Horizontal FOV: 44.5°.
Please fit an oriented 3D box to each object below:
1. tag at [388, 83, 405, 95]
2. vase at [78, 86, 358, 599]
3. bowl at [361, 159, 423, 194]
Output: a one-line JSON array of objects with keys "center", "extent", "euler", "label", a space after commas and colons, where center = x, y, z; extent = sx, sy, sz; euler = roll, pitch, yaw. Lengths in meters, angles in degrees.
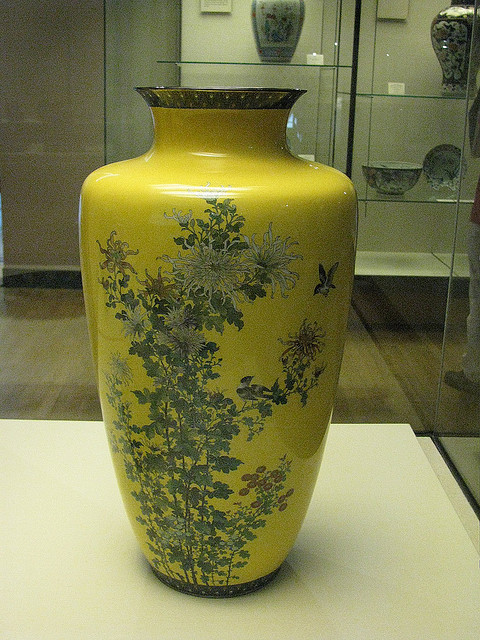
[{"center": [0.504, -0.746, 1.894], "extent": [0.055, 0.037, 0.029], "euler": [1, 4, 5], "label": "tag"}, {"center": [-0.044, 0.029, 0.982], "extent": [0.445, 0.736, 0.432], "euler": [-3, 10, -16], "label": "vase"}, {"center": [0.513, -0.491, 1.993], "extent": [0.139, 0.068, 0.136], "euler": [0, 16, 0], "label": "bowl"}]
